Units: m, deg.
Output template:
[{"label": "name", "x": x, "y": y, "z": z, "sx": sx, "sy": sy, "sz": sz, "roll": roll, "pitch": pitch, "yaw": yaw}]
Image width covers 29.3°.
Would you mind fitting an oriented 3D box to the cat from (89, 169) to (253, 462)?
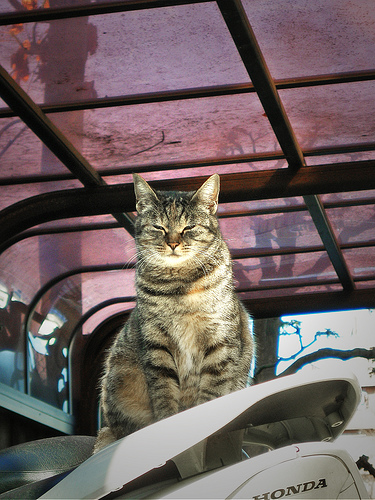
[{"label": "cat", "x": -0.056, "y": 0.321, "z": 3.369, "sx": 0.673, "sy": 1.533, "sz": 0.857, "roll": 7, "pitch": 37, "yaw": 2}]
